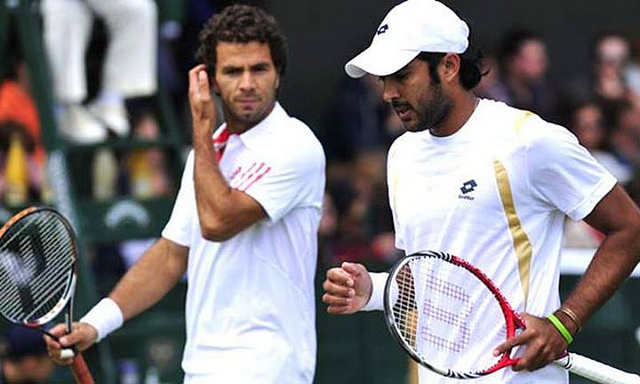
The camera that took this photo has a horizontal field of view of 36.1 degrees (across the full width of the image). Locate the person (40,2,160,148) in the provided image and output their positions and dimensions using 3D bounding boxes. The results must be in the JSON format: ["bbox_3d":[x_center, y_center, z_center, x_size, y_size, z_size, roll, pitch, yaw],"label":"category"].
[{"bbox_3d":[-2.090,-1.072,9.549,1.141,2.204,1.153,1,1,-12],"label":"person"}]

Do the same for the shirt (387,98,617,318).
[{"bbox_3d":[1.064,0.147,6.762,0.958,1.622,1.852,-15,8,-36],"label":"shirt"}]

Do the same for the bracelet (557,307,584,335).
[{"bbox_3d":[1.569,0.816,6.188,0.039,0.151,0.143,-34,27,-3],"label":"bracelet"}]
